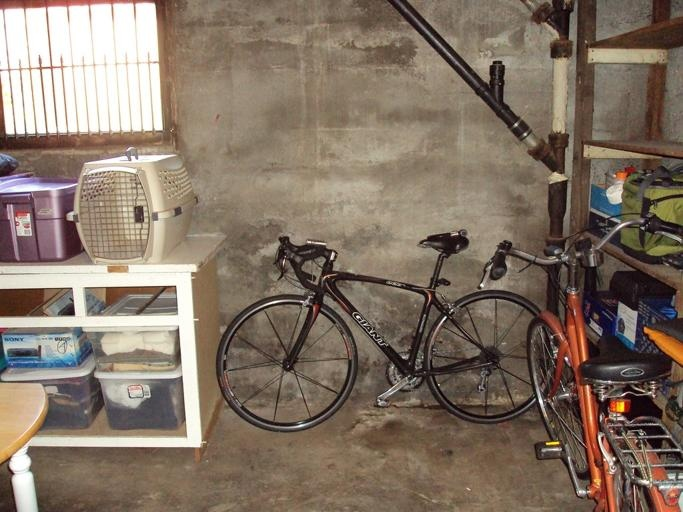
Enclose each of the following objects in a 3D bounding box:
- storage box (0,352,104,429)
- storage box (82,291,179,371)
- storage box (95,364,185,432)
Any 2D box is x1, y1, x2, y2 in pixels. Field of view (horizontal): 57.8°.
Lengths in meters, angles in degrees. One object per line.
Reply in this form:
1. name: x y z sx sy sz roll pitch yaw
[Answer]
1. storage box: -1.851 0.851 4.070 0.582 0.391 0.401 2 16 -7
2. storage box: -1.276 0.442 3.969 0.423 0.270 0.560 0 10 0
3. storage box: -1.252 0.911 3.960 0.516 0.334 0.360 0 7 -4
